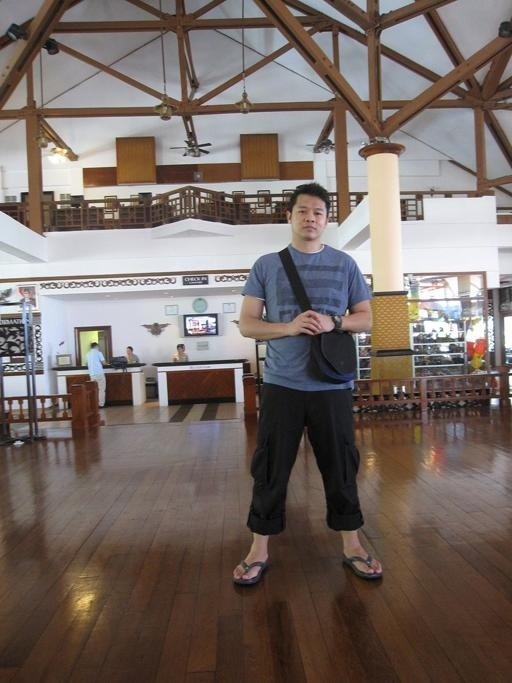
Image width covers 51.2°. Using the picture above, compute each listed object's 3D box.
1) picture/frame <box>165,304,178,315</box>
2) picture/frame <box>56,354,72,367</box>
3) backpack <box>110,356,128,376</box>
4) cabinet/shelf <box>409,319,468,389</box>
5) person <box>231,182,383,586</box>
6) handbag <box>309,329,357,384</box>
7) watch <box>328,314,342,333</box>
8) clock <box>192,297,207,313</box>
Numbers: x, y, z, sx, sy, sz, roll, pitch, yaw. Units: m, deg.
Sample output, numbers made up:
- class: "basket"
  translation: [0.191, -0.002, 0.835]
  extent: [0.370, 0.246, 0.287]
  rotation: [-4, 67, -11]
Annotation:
- class: "picture/frame"
  translation: [-1.991, -0.760, 12.436]
  extent: [0.250, 0.198, 0.035]
  rotation: [0, 0, -3]
- class: "picture/frame"
  translation: [-3.985, 0.400, 11.060]
  extent: [0.317, 0.293, 0.315]
  rotation: [1, -20, -19]
- class: "backpack"
  translation: [-2.732, 0.490, 10.693]
  extent: [0.269, 0.333, 0.140]
  rotation: [0, 6, 3]
- class: "cabinet/shelf"
  translation: [3.018, 0.056, 8.808]
  extent: [0.842, 1.417, 0.478]
  rotation: [-3, 26, 19]
- class: "person"
  translation: [0.168, 0.151, 2.105]
  extent: [0.608, 1.542, 0.390]
  rotation: [-3, 0, 8]
- class: "handbag"
  translation: [0.298, 0.057, 2.015]
  extent: [0.172, 0.213, 0.120]
  rotation: [11, -27, -31]
- class: "watch"
  translation: [0.300, -0.068, 1.981]
  extent: [0.040, 0.063, 0.063]
  rotation: [-6, -31, -20]
- class: "clock"
  translation: [-1.320, -0.843, 12.485]
  extent: [0.361, 0.344, 0.081]
  rotation: [0, 3, -3]
